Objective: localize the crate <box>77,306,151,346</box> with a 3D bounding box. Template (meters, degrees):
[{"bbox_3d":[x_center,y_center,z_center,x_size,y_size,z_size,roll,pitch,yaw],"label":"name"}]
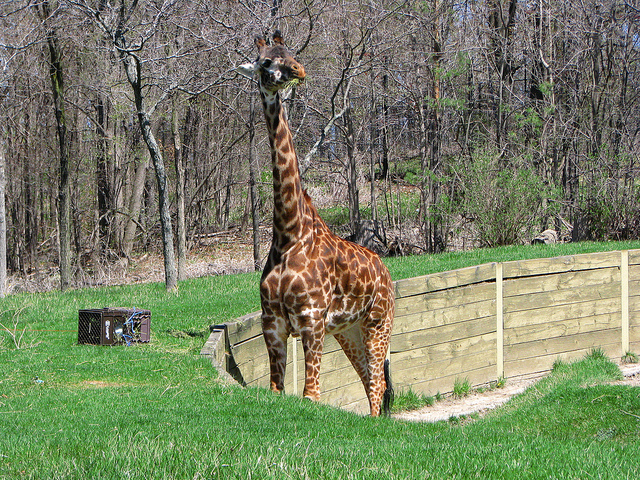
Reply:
[{"bbox_3d":[-5.265,2.309,29.578,1.516,1.065,1.293,-4,9,-43],"label":"crate"}]

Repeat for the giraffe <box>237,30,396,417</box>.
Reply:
[{"bbox_3d":[0.219,0.296,27.454,4.781,9.352,2.036,7,-6,-43],"label":"giraffe"}]
